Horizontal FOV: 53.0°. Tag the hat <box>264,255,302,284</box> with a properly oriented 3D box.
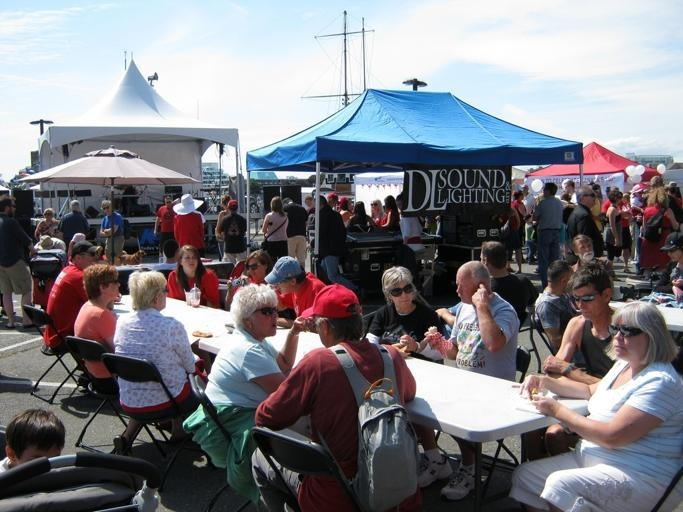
[{"bbox_3d":[-0.508,0.112,5.887,0.283,0.169,0.191,-30,43,-14],"label":"hat"}]

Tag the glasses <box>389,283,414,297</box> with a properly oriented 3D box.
[{"bbox_3d":[0.468,0.261,5.210,0.211,0.095,0.094,-3,6,-20],"label":"glasses"}]

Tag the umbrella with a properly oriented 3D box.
[{"bbox_3d":[-3.411,-1.171,10.178,1.998,1.516,2.097,-4,12,-22],"label":"umbrella"}]

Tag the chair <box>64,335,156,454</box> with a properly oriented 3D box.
[{"bbox_3d":[-1.923,1.065,5.731,0.675,1.035,0.563,5,-16,-30],"label":"chair"}]

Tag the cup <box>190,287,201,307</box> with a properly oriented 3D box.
[{"bbox_3d":[-1.414,0.411,6.724,0.124,0.199,0.137,2,5,3],"label":"cup"}]

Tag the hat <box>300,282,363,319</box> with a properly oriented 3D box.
[{"bbox_3d":[-0.080,0.267,4.085,0.388,0.185,0.268,-7,0,44],"label":"hat"}]

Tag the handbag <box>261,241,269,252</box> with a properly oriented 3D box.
[{"bbox_3d":[-1.188,-0.148,10.668,0.125,0.164,0.082,7,15,24],"label":"handbag"}]

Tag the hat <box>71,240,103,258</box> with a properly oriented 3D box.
[{"bbox_3d":[-2.638,-0.092,7.069,0.237,0.154,0.178,-4,6,-21],"label":"hat"}]

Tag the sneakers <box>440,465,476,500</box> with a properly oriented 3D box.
[{"bbox_3d":[0.832,1.578,4.772,0.135,0.193,0.394,-6,-1,44],"label":"sneakers"}]

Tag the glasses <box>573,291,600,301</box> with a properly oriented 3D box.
[{"bbox_3d":[1.632,0.278,4.591,0.152,0.064,0.047,4,8,43],"label":"glasses"}]
